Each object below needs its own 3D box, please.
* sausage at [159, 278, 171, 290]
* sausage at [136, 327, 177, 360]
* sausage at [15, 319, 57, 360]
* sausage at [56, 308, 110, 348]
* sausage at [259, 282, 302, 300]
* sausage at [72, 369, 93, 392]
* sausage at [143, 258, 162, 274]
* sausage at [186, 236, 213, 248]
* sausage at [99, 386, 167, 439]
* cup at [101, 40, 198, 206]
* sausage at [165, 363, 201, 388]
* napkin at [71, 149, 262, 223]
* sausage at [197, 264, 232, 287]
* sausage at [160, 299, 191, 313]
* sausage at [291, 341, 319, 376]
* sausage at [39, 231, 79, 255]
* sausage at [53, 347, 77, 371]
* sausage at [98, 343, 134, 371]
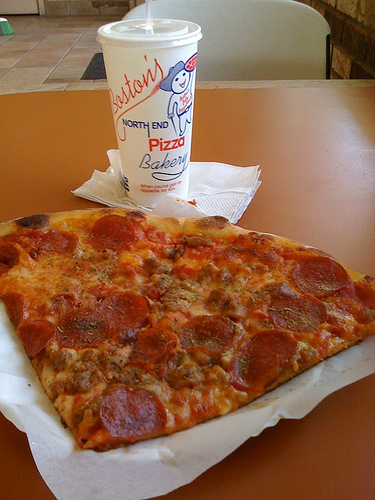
[{"bbox_3d":[-0.033,0.051,0.682,0.010,0.003,0.027,10,22,6],"label":"sausage"},{"bbox_3d":[-0.041,0.111,0.593,0.052,0.055,0.010,-25,63,-41],"label":"sausage"},{"bbox_3d":[-0.198,0.108,0.602,0.064,0.054,0.015,3,3,17],"label":"sausage"},{"bbox_3d":[-0.150,0.103,0.617,0.073,0.008,0.074,2,40,23],"label":"sausage"},{"bbox_3d":[0.150,0.062,0.667,0.033,0.009,0.031,-3,27,0],"label":"sausage"},{"bbox_3d":[-0.126,0.157,0.541,0.021,0.004,0.019,7,39,1],"label":"sausage"},{"bbox_3d":[-0.055,0.025,0.716,0.028,0.007,0.019,3,62,1],"label":"sausage"},{"bbox_3d":[0.019,-0.014,0.759,0.034,0.011,0.019,5,19,-1],"label":"sausage"},{"bbox_3d":[-0.061,0.176,0.504,0.050,0.012,0.048,-3,24,-23],"label":"sausage"},{"bbox_3d":[-0.063,-0.234,0.886,0.169,0.323,0.109,-1,35,2],"label":"cup"},{"bbox_3d":[-0.010,0.148,0.535,0.029,0.006,0.027,-3,34,0],"label":"sausage"},{"bbox_3d":[-0.027,-0.145,1.021,0.269,0.043,0.256,10,33,11],"label":"napkin"},{"bbox_3d":[0.039,0.039,0.689,0.034,0.010,0.032,7,31,19],"label":"sausage"},{"bbox_3d":[-0.016,0.079,0.639,0.024,0.006,0.021,-7,24,-8],"label":"sausage"},{"bbox_3d":[0.146,0.136,0.564,0.029,0.011,0.039,33,56,32],"label":"sausage"},{"bbox_3d":[-0.219,-0.009,0.754,0.049,0.013,0.045,-15,51,-29],"label":"sausage"},{"bbox_3d":[-0.156,0.137,0.566,0.017,0.006,0.027,19,33,2],"label":"sausage"},{"bbox_3d":[-0.091,0.131,0.567,0.031,0.008,0.028,-5,32,-6],"label":"sausage"}]
